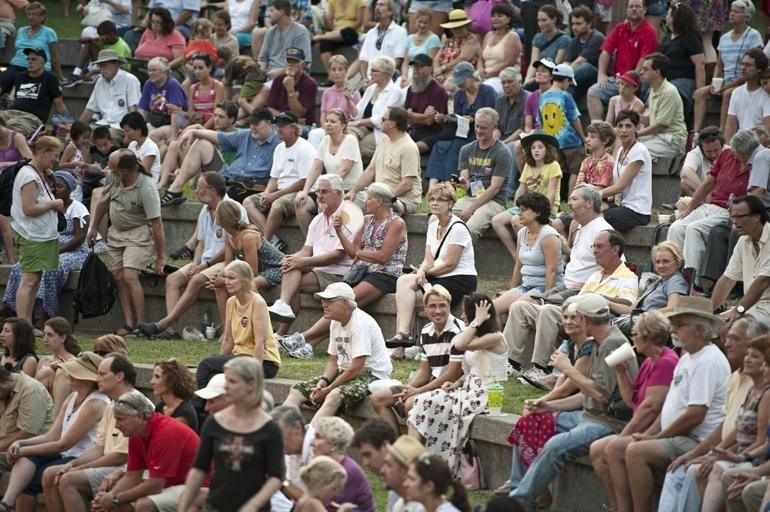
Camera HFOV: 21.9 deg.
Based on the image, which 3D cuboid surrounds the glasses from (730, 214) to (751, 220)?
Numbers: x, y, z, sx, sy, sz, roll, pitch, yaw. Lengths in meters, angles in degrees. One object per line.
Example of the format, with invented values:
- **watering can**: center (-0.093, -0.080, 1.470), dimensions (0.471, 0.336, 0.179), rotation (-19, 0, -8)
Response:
- **glasses**: center (4.742, -0.504, 26.604), dimensions (0.155, 0.092, 0.330), rotation (2, 3, -25)

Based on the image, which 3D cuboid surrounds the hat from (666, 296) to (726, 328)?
- **hat**: center (3.940, 0.682, 25.127), dimensions (0.462, 0.190, 0.436), rotation (17, -7, 3)

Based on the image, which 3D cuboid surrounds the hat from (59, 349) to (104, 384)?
- **hat**: center (-3.979, 1.465, 26.295), dimensions (0.452, 0.198, 0.389), rotation (9, 10, -34)

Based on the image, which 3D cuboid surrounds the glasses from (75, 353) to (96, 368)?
- **glasses**: center (-3.922, 1.352, 26.347), dimensions (0.234, 0.123, 0.175), rotation (15, 6, -42)

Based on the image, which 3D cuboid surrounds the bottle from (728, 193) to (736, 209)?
- **bottle**: center (4.805, -0.732, 27.661), dimensions (0.152, 0.183, 0.137), rotation (-4, 4, 2)

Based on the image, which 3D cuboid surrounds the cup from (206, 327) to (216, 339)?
- **cup**: center (-2.486, 1.108, 28.875), dimensions (0.144, 0.146, 0.149), rotation (0, -3, 0)

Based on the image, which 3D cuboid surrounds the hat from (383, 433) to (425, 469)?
- **hat**: center (0.277, 2.302, 23.641), dimensions (0.467, 0.350, 0.216), rotation (4, 2, 7)

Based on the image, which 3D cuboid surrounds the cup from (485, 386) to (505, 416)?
- **cup**: center (1.453, 1.861, 25.910), dimensions (0.299, 0.417, 0.336), rotation (-3, 5, -11)

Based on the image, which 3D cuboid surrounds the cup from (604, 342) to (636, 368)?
- **cup**: center (3.005, 1.247, 25.280), dimensions (0.398, 0.332, 0.274), rotation (3, 2, -8)

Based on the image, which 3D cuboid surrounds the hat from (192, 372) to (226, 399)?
- **hat**: center (-2.179, 1.659, 25.383), dimensions (0.478, 0.183, 0.307), rotation (-6, 4, -41)

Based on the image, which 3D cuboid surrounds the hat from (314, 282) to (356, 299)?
- **hat**: center (-0.606, 0.486, 26.456), dimensions (0.348, 0.172, 0.254), rotation (3, -6, -8)

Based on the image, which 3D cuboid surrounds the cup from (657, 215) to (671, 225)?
- **cup**: center (4.031, -0.506, 28.491), dimensions (0.146, 0.106, 0.125), rotation (3, -2, -7)
